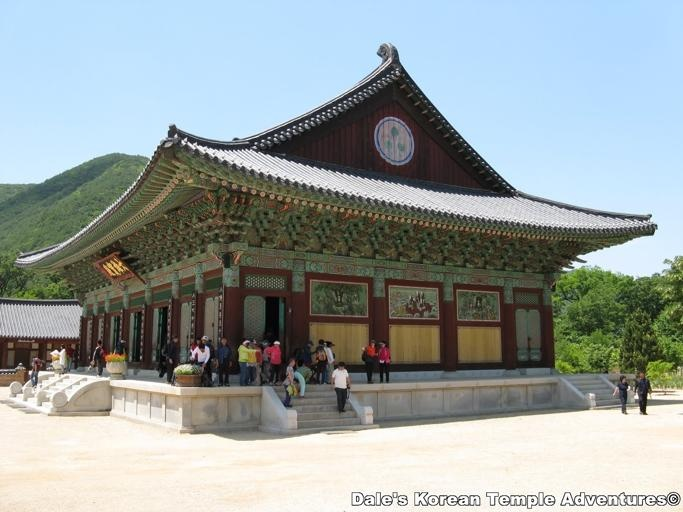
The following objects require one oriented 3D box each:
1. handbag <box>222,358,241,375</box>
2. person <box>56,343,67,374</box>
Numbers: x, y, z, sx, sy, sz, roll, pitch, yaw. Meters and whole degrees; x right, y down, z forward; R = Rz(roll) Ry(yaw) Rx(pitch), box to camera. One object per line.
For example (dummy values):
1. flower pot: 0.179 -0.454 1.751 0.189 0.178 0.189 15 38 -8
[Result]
1. handbag: -3.412 3.428 18.560 0.531 0.681 0.569 6 -15 -17
2. person: -13.511 5.077 29.092 0.369 1.242 1.706 6 -11 -23
